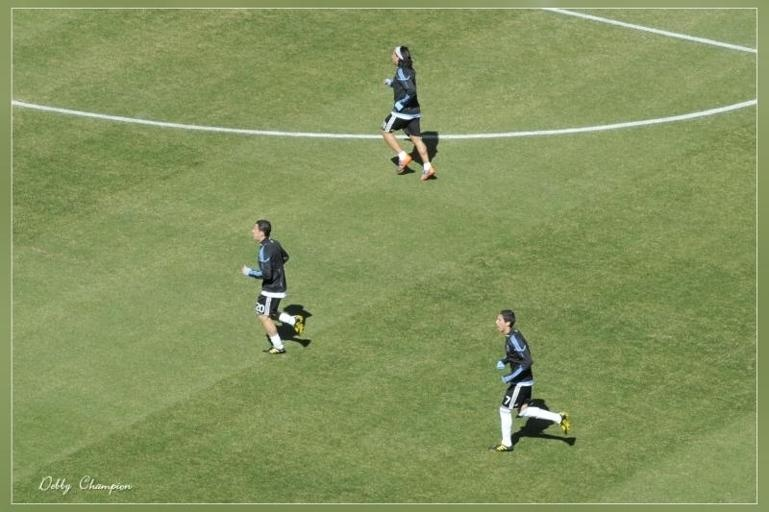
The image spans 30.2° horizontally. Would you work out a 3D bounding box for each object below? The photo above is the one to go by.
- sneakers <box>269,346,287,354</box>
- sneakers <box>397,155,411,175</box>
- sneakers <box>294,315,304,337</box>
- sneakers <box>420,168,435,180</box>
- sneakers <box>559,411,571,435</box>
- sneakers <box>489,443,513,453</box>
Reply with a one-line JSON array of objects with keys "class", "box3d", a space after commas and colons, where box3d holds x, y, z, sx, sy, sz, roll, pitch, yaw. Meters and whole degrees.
[{"class": "sneakers", "box3d": [-2.399, 2.063, 30.900, 0.424, 0.142, 0.162, 4, 97, 4]}, {"class": "sneakers", "box3d": [0.386, -2.102, 32.923, 0.245, 0.526, 0.180, 7, 73, -4]}, {"class": "sneakers", "box3d": [-1.891, 1.441, 30.800, 0.191, 0.202, 0.471, 2, 20, -5]}, {"class": "sneakers", "box3d": [0.940, -1.853, 32.906, 0.457, 0.299, 0.149, -6, 64, 19]}, {"class": "sneakers", "box3d": [3.668, 3.481, 29.511, 0.182, 0.287, 0.405, 1, 80, 20]}, {"class": "sneakers", "box3d": [2.364, 4.040, 29.802, 0.449, 0.174, 0.151, 5, 22, 8]}]
